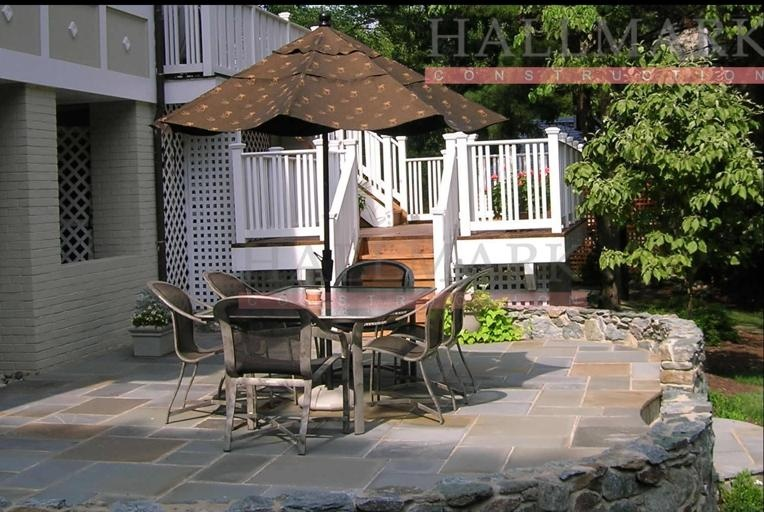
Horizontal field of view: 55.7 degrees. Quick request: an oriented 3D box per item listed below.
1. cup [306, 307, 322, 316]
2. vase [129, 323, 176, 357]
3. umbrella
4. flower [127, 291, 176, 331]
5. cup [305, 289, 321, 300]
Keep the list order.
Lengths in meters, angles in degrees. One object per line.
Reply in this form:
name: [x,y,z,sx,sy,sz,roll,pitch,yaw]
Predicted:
cup: [-0.651,0.541,6.979,0.152,0.106,0.080,0,-4,-16]
vase: [-3.216,1.184,10.124,0.448,0.388,0.659,0,-2,5]
umbrella: [-0.307,-0.786,8.256,3.390,2.772,3.507,2,11,7]
flower: [-3.292,0.793,10.292,0.533,0.392,0.690,2,8,-24]
cup: [-0.725,0.410,7.540,0.118,0.084,0.119,-1,1,0]
